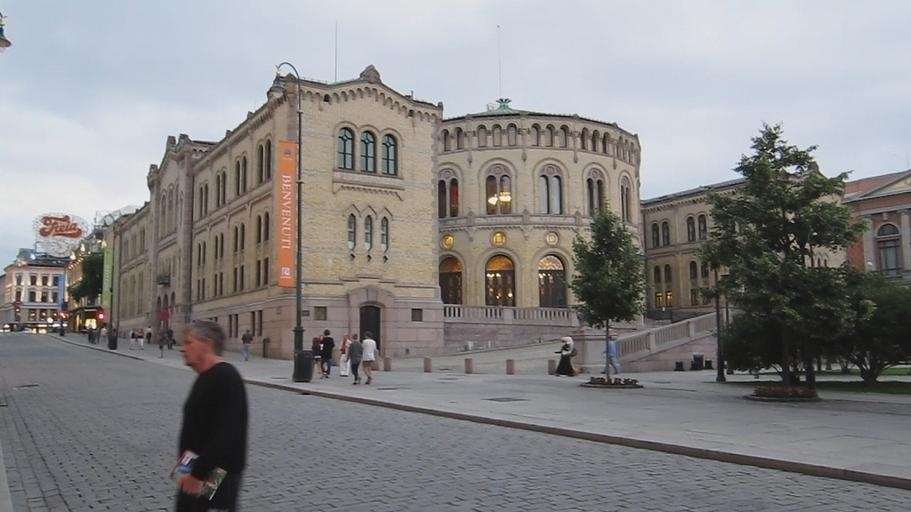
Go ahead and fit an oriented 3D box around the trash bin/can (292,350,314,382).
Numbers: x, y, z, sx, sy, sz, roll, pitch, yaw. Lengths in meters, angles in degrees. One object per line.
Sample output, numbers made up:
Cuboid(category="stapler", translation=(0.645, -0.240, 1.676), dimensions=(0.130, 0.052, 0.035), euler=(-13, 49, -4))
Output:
Cuboid(category="trash bin/can", translation=(-7.133, 5.081, 39.486), dimensions=(0.836, 1.417, 0.462), euler=(-1, 6, -9))
